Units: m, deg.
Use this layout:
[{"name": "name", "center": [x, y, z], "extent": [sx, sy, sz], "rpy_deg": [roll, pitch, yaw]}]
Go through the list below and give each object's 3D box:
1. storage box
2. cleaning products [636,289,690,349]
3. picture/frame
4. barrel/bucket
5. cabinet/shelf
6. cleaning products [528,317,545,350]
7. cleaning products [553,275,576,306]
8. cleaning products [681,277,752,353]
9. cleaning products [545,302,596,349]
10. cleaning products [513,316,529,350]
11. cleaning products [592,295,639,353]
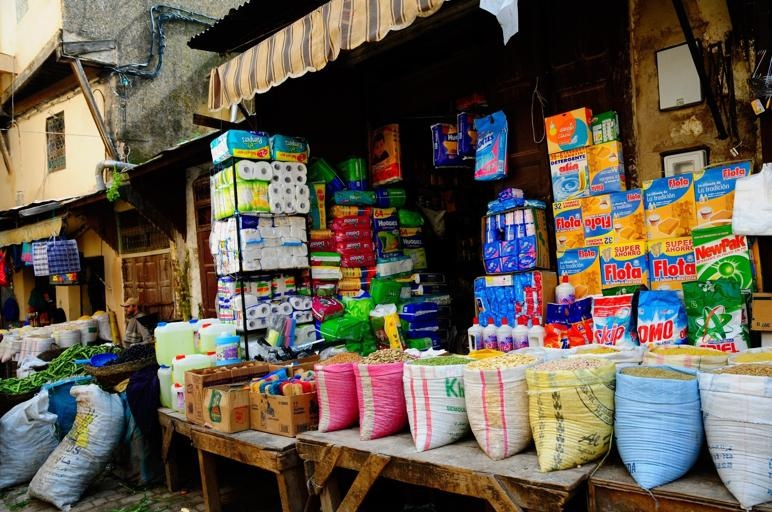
[{"name": "storage box", "center": [-1.519, 1.545, 7.036], "extent": [1.381, 0.678, 0.789], "rpy_deg": [-4, 2, -14]}, {"name": "cleaning products", "center": [3.157, 0.713, 7.465], "extent": [0.524, 0.708, 0.250], "rpy_deg": [-5, 21, 9]}, {"name": "picture/frame", "center": [3.566, -1.773, 7.839], "extent": [0.442, 1.654, 0.221], "rpy_deg": [-4, 7, 37]}, {"name": "barrel/bucket", "center": [-2.437, 1.442, 8.242], "extent": [0.929, 1.086, 1.183], "rpy_deg": [-2, 7, -8]}, {"name": "cabinet/shelf", "center": [-1.700, 0.004, 9.103], "extent": [1.366, 2.674, 0.647], "rpy_deg": [-4, -3, -15]}, {"name": "cleaning products", "center": [1.863, 0.932, 8.051], "extent": [0.205, 0.242, 0.301], "rpy_deg": [-5, -4, 12]}, {"name": "cleaning products", "center": [2.240, 0.416, 8.150], "extent": [0.250, 0.266, 0.314], "rpy_deg": [-7, -4, 27]}, {"name": "cleaning products", "center": [3.655, 0.648, 7.165], "extent": [0.620, 0.691, 0.224], "rpy_deg": [-6, -4, 25]}, {"name": "cleaning products", "center": [2.225, 0.810, 7.929], "extent": [0.606, 0.433, 0.286], "rpy_deg": [-6, -4, 22]}, {"name": "cleaning products", "center": [1.693, 0.955, 8.162], "extent": [0.211, 0.264, 0.225], "rpy_deg": [-5, -4, 11]}, {"name": "cleaning products", "center": [2.653, 0.780, 7.640], "extent": [0.539, 0.741, 0.184], "rpy_deg": [-2, 21, 15]}]
